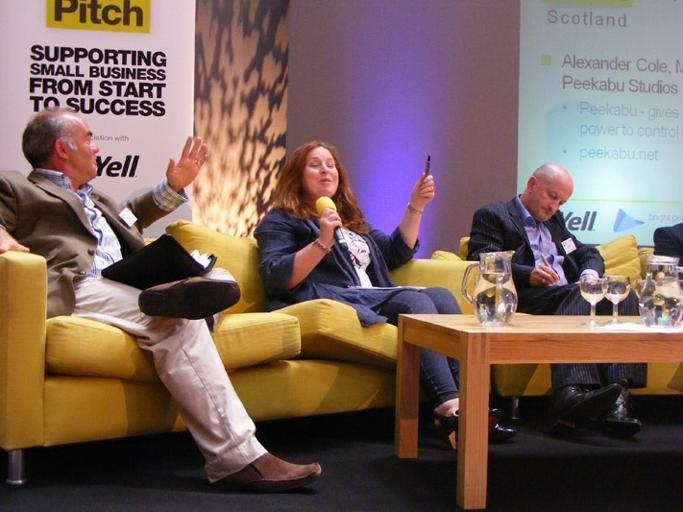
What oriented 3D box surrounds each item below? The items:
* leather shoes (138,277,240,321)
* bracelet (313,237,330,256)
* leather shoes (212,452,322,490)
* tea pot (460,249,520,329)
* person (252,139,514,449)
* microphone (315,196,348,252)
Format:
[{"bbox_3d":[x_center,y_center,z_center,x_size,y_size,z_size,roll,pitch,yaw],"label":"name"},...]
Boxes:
[{"bbox_3d":[-0.468,0.121,1.834,0.326,0.135,0.139,0,1,4],"label":"leather shoes"},{"bbox_3d":[-0.078,-0.037,2.461,0.065,0.024,0.058,45,1,-39],"label":"bracelet"},{"bbox_3d":[-0.239,0.662,1.907,0.337,0.142,0.127,-6,-6,4],"label":"leather shoes"},{"bbox_3d":[0.478,0.104,1.904,0.172,0.251,0.146,-1,1,15],"label":"tea pot"},{"bbox_3d":[0.188,0.086,2.578,1.160,1.446,0.765,-15,-19,37],"label":"person"},{"bbox_3d":[-0.056,-0.190,2.550,0.079,0.334,0.088,-17,-33,-4],"label":"microphone"}]
